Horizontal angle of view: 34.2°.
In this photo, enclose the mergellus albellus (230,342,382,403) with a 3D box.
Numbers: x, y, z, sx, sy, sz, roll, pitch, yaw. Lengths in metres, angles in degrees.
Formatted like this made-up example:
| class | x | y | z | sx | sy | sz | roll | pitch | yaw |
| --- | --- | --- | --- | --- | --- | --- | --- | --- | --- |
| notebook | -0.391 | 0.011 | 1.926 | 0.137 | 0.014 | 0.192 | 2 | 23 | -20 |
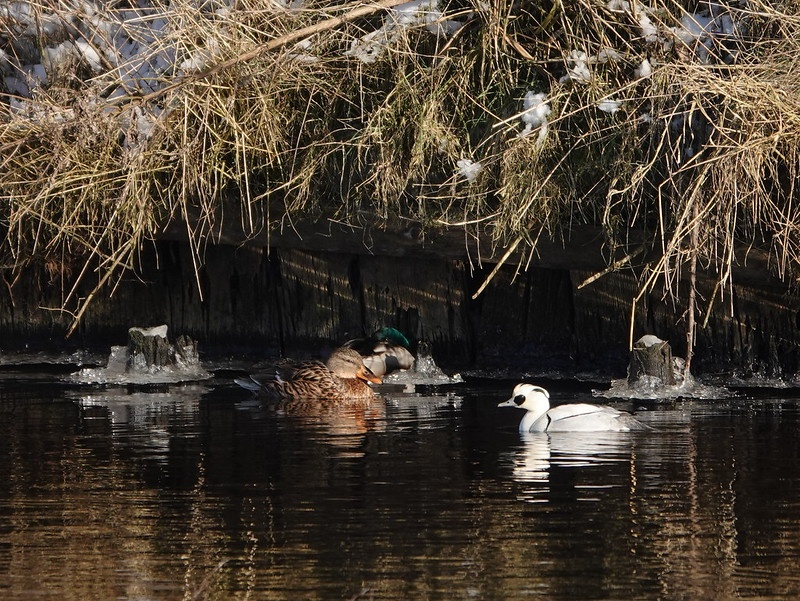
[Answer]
| class | x | y | z | sx | sy | sz | roll | pitch | yaw |
| --- | --- | --- | --- | --- | --- | --- | --- | --- | --- |
| mergellus albellus | -0.834 | 0.734 | 12.276 | 1.370 | 0.762 | 0.641 | 8 | -1 | 2 |
